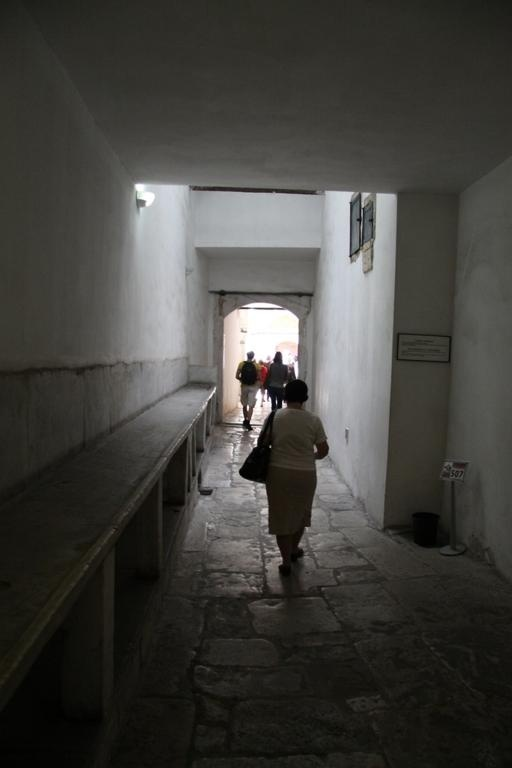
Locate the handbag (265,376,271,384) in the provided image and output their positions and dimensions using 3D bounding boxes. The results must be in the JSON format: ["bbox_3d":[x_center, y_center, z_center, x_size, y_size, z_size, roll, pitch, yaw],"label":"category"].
[{"bbox_3d":[0.231,-0.061,9.870,0.035,0.167,0.094,4,4,-31],"label":"handbag"}]

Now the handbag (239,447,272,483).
[{"bbox_3d":[-0.011,0.509,3.257,0.171,0.212,0.097,0,0,-4],"label":"handbag"}]

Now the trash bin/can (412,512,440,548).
[{"bbox_3d":[1.286,1.096,3.963,0.179,0.223,0.186,-3,6,-36],"label":"trash bin/can"}]

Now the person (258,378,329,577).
[{"bbox_3d":[0.268,0.610,3.444,0.388,1.265,0.395,0,0,8],"label":"person"}]

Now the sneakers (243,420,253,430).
[{"bbox_3d":[-0.168,0.835,10.273,0.121,0.215,0.174,0,-11,9],"label":"sneakers"}]
